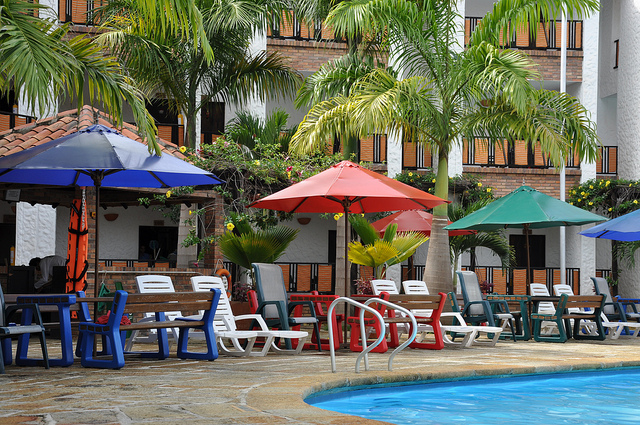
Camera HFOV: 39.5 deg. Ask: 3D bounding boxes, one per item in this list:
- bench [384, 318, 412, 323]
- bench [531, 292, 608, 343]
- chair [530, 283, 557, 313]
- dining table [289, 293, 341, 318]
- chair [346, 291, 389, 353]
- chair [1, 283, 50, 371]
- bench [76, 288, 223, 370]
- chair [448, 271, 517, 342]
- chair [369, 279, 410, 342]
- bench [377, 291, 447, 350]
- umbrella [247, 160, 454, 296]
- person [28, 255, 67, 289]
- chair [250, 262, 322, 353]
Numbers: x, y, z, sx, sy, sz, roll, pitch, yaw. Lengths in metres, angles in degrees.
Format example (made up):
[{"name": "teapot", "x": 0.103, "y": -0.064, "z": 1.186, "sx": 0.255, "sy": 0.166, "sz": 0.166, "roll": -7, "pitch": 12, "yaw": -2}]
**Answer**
[{"name": "bench", "x": 1.419, "y": 2.019, "z": 16.722, "sx": 0.568, "sy": 0.083, "sz": 0.539, "roll": -1, "pitch": -7, "yaw": -10}, {"name": "bench", "x": 5.649, "y": 2.374, "z": 20.307, "sx": 0.926, "sy": 1.067, "sz": 2.015, "roll": -2, "pitch": -6, "yaw": 40}, {"name": "chair", "x": 5.380, "y": 2.038, "z": 21.296, "sx": 0.549, "sy": 0.766, "sz": 0.699, "roll": 6, "pitch": -17, "yaw": -25}, {"name": "dining table", "x": -0.108, "y": 1.810, "z": 17.441, "sx": 0.950, "sy": 0.623, "sz": 0.526, "roll": -2, "pitch": -9, "yaw": 16}, {"name": "chair", "x": 0.910, "y": 2.127, "z": 17.283, "sx": 0.987, "sy": 1.157, "sz": 0.915, "roll": 3, "pitch": -6, "yaw": -25}, {"name": "chair", "x": -5.070, "y": 2.036, "z": 15.279, "sx": 0.740, "sy": 1.234, "sz": 2.939, "roll": 0, "pitch": -7, "yaw": -18}, {"name": "bench", "x": -3.074, "y": 2.072, "z": 16.003, "sx": 2.409, "sy": 1.293, "sz": 3.563, "roll": 0, "pitch": -7, "yaw": -11}, {"name": "chair", "x": 3.557, "y": 2.009, "z": 19.201, "sx": 1.156, "sy": 1.468, "sz": 1.158, "roll": 5, "pitch": -6, "yaw": -41}, {"name": "chair", "x": 1.473, "y": 1.866, "z": 18.018, "sx": 0.751, "sy": 1.090, "sz": 0.910, "roll": -5, "pitch": -13, "yaw": 3}, {"name": "bench", "x": 1.611, "y": 2.099, "z": 17.186, "sx": 0.794, "sy": 1.079, "sz": 1.850, "roll": 0, "pitch": -5, "yaw": 36}, {"name": "umbrella", "x": 0.672, "y": 0.736, "z": 17.733, "sx": 3.212, "sy": 2.211, "sz": 3.193, "roll": 5, "pitch": -10, "yaw": -24}, {"name": "person", "x": -6.335, "y": 1.388, "z": 20.768, "sx": 0.639, "sy": 0.786, "sz": 1.341, "roll": 0, "pitch": -7, "yaw": -18}, {"name": "chair", "x": -0.706, "y": 1.788, "z": 16.916, "sx": 1.057, "sy": 1.619, "sz": 1.086, "roll": -3, "pitch": -6, "yaw": 33}]
